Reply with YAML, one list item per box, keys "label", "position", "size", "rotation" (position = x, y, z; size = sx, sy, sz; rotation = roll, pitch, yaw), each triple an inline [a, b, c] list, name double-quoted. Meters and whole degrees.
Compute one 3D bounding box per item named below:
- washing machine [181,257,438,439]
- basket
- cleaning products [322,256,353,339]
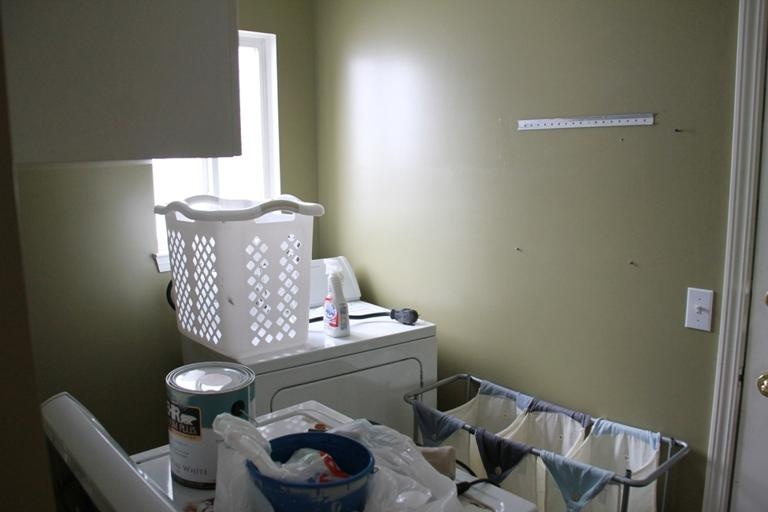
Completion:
- label: "washing machine"
  position: [-0.392, 0.448, 2.663]
  size: [1.054, 0.756, 0.859]
  rotation: [-6, 12, -41]
- label: "basket"
  position: [-0.477, 0.074, 2.297]
  size: [0.620, 0.622, 0.487]
  rotation: [5, 8, 42]
- label: "cleaning products"
  position: [-0.193, 0.170, 2.348]
  size: [0.121, 0.310, 0.074]
  rotation: [6, 9, 40]
